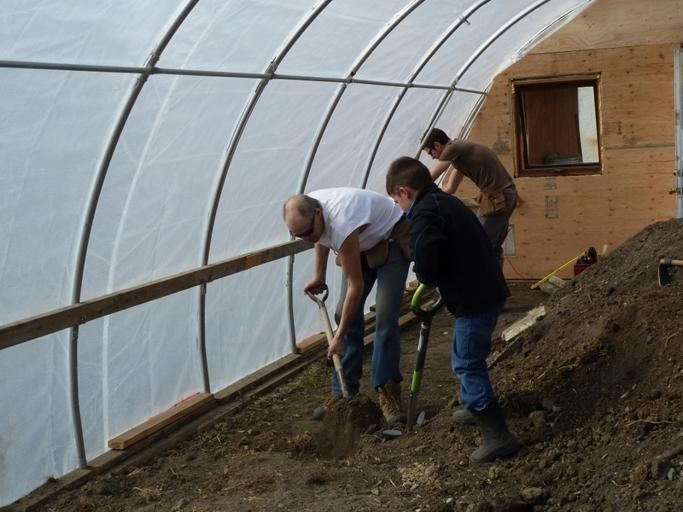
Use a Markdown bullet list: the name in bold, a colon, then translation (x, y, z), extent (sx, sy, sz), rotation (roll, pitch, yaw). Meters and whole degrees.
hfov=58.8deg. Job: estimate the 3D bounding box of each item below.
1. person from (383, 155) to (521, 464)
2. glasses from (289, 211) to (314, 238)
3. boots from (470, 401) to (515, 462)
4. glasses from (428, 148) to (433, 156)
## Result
- **person**: translation (0.889, 0.369, 4.651), extent (0.763, 2.315, 0.548), rotation (-6, 7, 6)
- **glasses**: translation (-0.314, -0.248, 5.105), extent (0.204, 0.197, 0.073), rotation (-4, 7, 21)
- **boots**: translation (1.097, 1.311, 4.581), extent (0.347, 0.430, 0.201), rotation (-19, 8, 9)
- **glasses**: translation (1.124, -1.327, 7.697), extent (0.042, 0.057, 0.040), rotation (-4, -10, 14)
